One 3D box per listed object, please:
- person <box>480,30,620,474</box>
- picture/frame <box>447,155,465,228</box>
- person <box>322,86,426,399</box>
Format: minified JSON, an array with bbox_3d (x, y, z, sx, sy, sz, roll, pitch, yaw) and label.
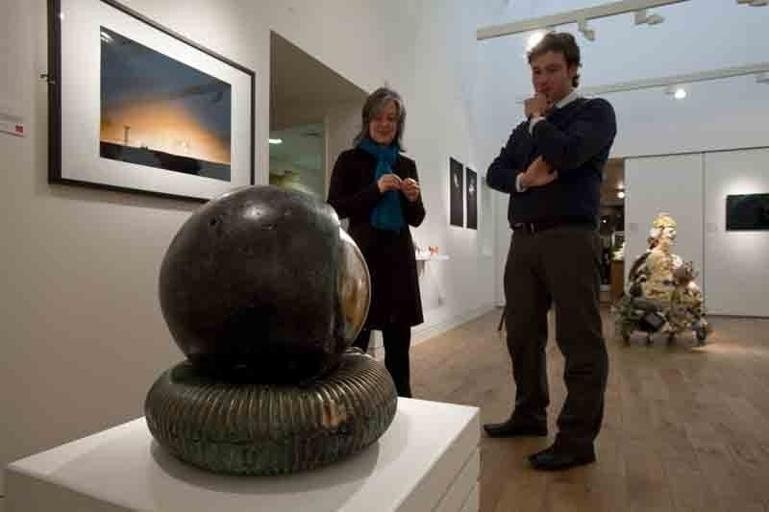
[{"bbox_3d":[0.787,-0.031,2.462,0.567,2.040,0.480,3,10,40],"label":"person"},{"bbox_3d":[0.836,-0.791,5.882,0.042,0.966,0.840,-1,-3,22],"label":"picture/frame"},{"bbox_3d":[-0.025,-0.078,2.576,0.495,1.567,0.378,-4,8,-6],"label":"person"}]
